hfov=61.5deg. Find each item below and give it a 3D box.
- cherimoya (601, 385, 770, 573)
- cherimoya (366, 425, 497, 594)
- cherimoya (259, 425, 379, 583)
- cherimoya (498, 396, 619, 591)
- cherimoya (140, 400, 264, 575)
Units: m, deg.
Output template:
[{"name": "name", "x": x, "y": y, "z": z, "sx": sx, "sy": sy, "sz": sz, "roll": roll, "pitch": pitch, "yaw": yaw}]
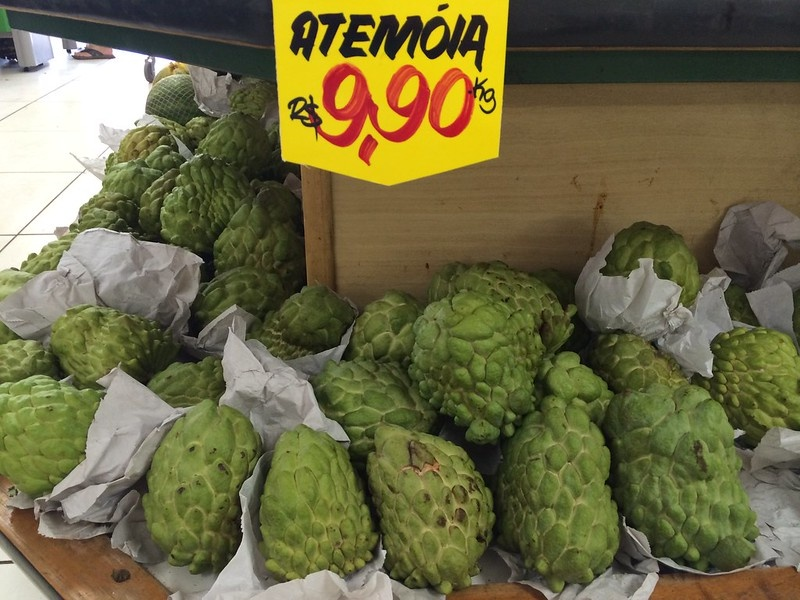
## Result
[{"name": "cherimoya", "x": 0.554, "y": 0.336, "z": 1.335, "sx": 0.247, "sy": 0.169, "sz": 0.366, "roll": -12, "pitch": 63, "yaw": 7}, {"name": "cherimoya", "x": 0.043, "y": 0.427, "z": 1.370, "sx": 0.216, "sy": 0.132, "sz": 0.288, "roll": -25, "pitch": 73, "yaw": -20}, {"name": "cherimoya", "x": -0.154, "y": 0.385, "z": 1.279, "sx": 0.203, "sy": 0.196, "sz": 0.203, "roll": 3, "pitch": 21, "yaw": -1}, {"name": "cherimoya", "x": 0.317, "y": 0.374, "z": 1.387, "sx": 0.227, "sy": 0.339, "sz": 0.157, "roll": 14, "pitch": -9, "yaw": 4}, {"name": "cherimoya", "x": -0.386, "y": 0.354, "z": 1.364, "sx": 0.216, "sy": 0.320, "sz": 0.185, "roll": 18, "pitch": -18, "yaw": -18}]
